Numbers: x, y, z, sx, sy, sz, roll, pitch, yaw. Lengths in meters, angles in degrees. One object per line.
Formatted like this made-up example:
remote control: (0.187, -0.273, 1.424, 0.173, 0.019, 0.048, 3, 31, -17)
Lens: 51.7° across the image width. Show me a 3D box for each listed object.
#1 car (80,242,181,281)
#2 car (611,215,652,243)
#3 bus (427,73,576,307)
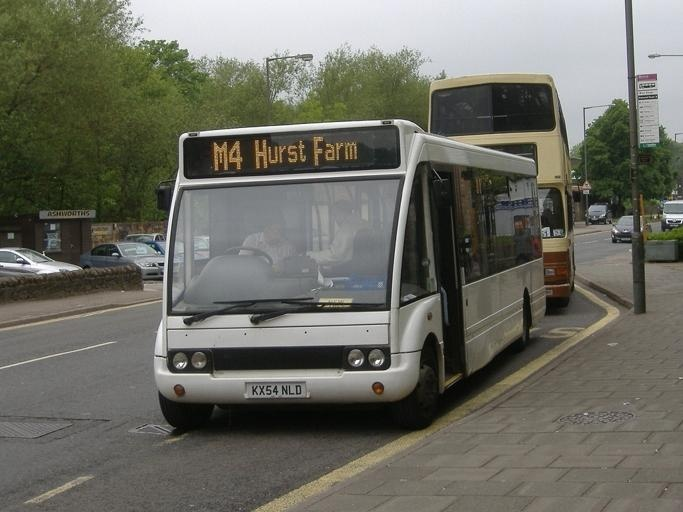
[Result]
car: (-8.228, 0.246, 26.738, 3.241, 1.307, 1.538, -3, -1, 35)
car: (18.563, -1.740, 46.569, 1.169, 1.732, 2.367, 0, 1, 27)
bus: (4.354, -2.448, 19.574, 2.738, 4.323, 7.627, 0, 1, 15)
